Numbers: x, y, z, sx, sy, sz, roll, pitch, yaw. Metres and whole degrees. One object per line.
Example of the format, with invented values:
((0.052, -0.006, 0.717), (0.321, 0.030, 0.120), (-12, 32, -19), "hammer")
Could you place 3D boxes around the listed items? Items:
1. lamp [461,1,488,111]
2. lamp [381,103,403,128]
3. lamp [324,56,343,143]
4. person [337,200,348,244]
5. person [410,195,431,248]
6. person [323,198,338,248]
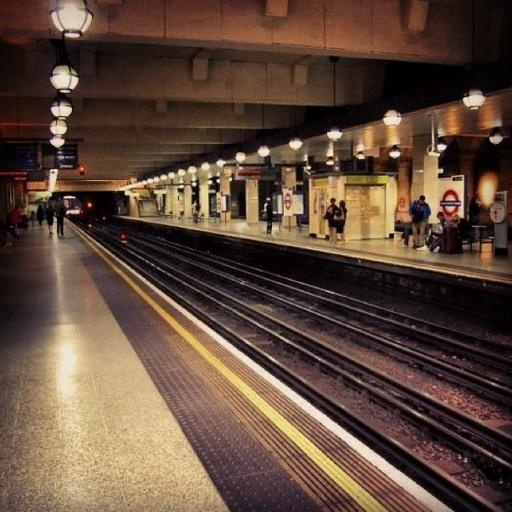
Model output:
((4.882, -4.369, 9.628), (0.424, 2.072, 0.973), (4, -2, 28), "lamp")
((3.702, -3.728, 11.817), (0.588, 0.644, 0.629), (-1, 4, -17), "lamp")
((2.444, -4.827, 13.398), (0.481, 1.815, 3.319), (5, -2, 11), "lamp")
((3.635, -1.526, 18.592), (0.378, 1.231, 1.166), (5, -2, 10), "person")
((5.821, -1.238, 15.522), (0.657, 1.905, 1.131), (4, -2, 21), "person")
((3.296, -1.567, 19.017), (0.519, 1.377, 2.288), (5, -2, 11), "person")
